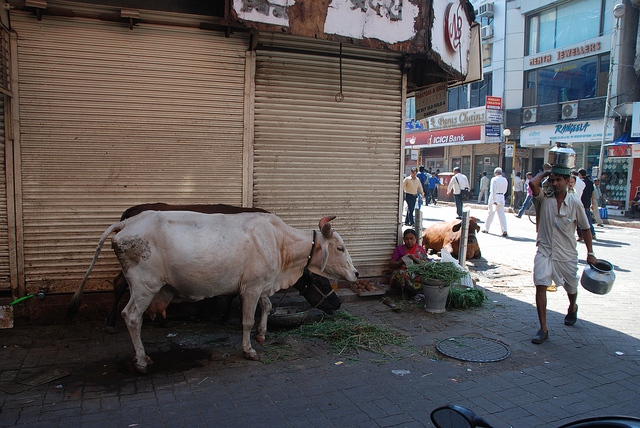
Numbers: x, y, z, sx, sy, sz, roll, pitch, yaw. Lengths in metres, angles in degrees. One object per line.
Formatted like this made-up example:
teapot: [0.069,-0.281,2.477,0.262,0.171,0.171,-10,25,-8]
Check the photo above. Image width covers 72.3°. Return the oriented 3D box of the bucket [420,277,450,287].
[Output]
bucket: [1.942,1.149,7.429,0.472,0.138,0.088,4,14,10]

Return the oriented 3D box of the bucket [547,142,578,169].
bucket: [3.612,-0.886,6.617,0.420,0.341,0.408,3,8,0]

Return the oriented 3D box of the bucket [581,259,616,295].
bucket: [4.283,0.998,6.766,0.456,0.532,0.333,0,14,-7]

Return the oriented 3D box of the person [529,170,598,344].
person: [3.558,0.591,6.680,1.247,2.446,0.871,-11,19,-42]

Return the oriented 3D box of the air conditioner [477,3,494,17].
air conditioner: [9.955,-12.197,26.326,0.403,0.813,1.197,-2,13,-14]

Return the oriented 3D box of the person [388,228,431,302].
person: [1.742,0.898,8.431,0.795,1.082,0.743,1,5,7]

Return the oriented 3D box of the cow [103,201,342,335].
cow: [-1.319,1.012,7.235,4.226,1.983,1.121,-3,0,-31]

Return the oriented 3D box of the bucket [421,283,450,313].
bucket: [1.982,1.438,7.646,0.507,0.432,0.480,1,2,0]

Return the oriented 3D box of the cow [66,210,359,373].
cow: [-1.429,1.006,6.132,3.917,1.891,1.039,0,-6,-22]

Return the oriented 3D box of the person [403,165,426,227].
person: [3.289,-0.582,15.544,0.648,2.017,1.327,4,14,11]

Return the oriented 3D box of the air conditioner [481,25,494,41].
air conditioner: [9.961,-10.789,25.999,0.401,0.783,0.843,-2,14,-15]

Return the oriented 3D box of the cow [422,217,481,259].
cow: [3.199,0.567,10.774,0.789,0.812,2.059,7,-8,-25]
